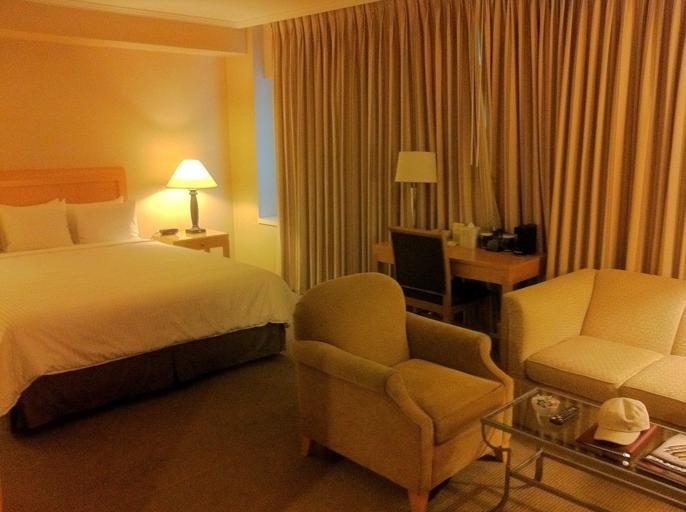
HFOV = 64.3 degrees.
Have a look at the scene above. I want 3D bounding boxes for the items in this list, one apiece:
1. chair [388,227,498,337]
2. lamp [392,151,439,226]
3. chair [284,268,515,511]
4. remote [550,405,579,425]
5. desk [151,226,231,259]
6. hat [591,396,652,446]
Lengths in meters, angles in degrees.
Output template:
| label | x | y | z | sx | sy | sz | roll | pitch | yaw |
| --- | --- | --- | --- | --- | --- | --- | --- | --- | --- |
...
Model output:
| label | x | y | z | sx | sy | sz | roll | pitch | yaw |
| --- | --- | --- | --- | --- | --- | --- | --- | --- | --- |
| chair | 0.778 | 0.176 | 4.195 | 0.699 | 1.093 | 0.659 | -17 | 22 | -38 |
| lamp | 0.661 | -0.573 | 4.824 | 0.349 | 0.710 | 0.436 | -2 | 17 | 10 |
| chair | 0.317 | 0.669 | 3.140 | 0.885 | 1.043 | 0.953 | -19 | 21 | -41 |
| remote | 1.111 | 0.800 | 2.749 | 0.060 | 0.029 | 0.181 | 7 | 13 | 44 |
| desk | -1.725 | -0.243 | 6.120 | 0.459 | 0.423 | 0.454 | -12 | 21 | -39 |
| hat | 1.309 | 0.772 | 2.562 | 0.188 | 0.101 | 0.254 | 2 | 16 | 36 |
